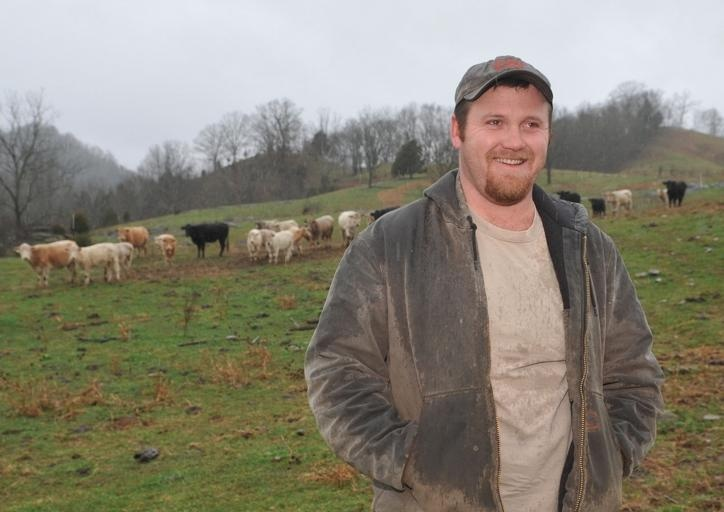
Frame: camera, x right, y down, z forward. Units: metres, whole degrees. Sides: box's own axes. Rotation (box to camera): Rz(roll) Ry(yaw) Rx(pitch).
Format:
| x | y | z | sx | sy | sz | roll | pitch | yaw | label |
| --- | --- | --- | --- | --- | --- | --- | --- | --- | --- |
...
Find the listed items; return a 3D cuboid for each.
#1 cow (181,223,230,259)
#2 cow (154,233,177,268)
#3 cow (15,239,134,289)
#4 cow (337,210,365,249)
| x | y | z | sx | sy | sz | roll | pitch | yaw | label |
| --- | --- | --- | --- | --- | --- | --- | --- | --- | --- |
| -7.223 | -0.782 | 38.861 | 2.386 | 1.603 | 0.698 | -2 | 2 | -39 | cow |
| -8.411 | -0.201 | 36.171 | 0.589 | 1.218 | 2.198 | 1 | 2 | -12 | cow |
| -10.674 | 0.145 | 30.878 | 3.997 | 1.541 | 2.764 | -5 | 9 | -33 | cow |
| -0.535 | -1.305 | 40.465 | 0.866 | 1.679 | 3.092 | 2 | -3 | -15 | cow |
